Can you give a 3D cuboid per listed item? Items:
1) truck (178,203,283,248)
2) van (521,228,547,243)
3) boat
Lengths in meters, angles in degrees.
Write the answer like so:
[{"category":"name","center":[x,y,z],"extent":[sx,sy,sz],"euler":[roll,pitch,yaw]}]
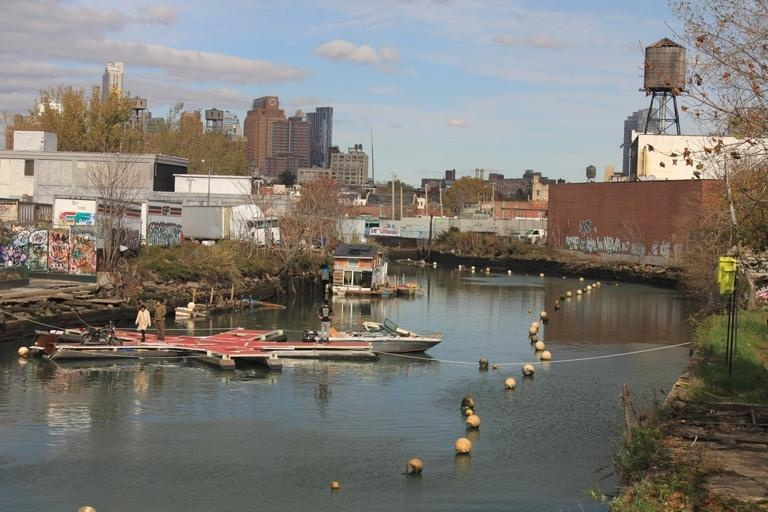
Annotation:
[{"category":"truck","center":[-16.102,-3.175,102.898],"extent":[7.099,3.516,4.848],"euler":[0,3,4]},{"category":"van","center":[21.859,-3.185,148.019],"extent":[3.298,1.726,2.355],"euler":[1,0,-14]},{"category":"boat","center":[-9.948,4.995,63.695],"extent":[23.469,3.516,7.090],"euler":[-1,13,-10]}]
